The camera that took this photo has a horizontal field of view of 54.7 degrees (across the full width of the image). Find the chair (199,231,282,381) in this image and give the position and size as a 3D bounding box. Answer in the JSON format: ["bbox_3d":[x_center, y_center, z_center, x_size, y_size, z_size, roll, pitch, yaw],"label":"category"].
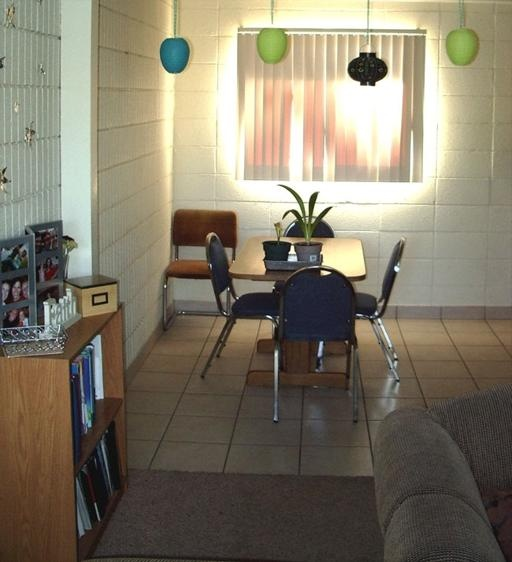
[{"bbox_3d":[-0.068,0.138,3.667,0.669,1.009,0.618,-5,12,-6],"label":"chair"}]

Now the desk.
[{"bbox_3d":[0.297,0.236,3.814,0.796,0.883,1.359,-1,10,1],"label":"desk"}]

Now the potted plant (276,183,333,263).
[{"bbox_3d":[0.322,-0.385,3.319,0.371,0.543,0.290,-8,10,-20],"label":"potted plant"}]

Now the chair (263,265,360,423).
[{"bbox_3d":[0.382,0.346,3.095,0.537,0.963,0.643,1,9,10],"label":"chair"}]

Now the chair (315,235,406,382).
[{"bbox_3d":[0.810,0.148,3.821,0.600,1.079,0.597,4,11,11],"label":"chair"}]
